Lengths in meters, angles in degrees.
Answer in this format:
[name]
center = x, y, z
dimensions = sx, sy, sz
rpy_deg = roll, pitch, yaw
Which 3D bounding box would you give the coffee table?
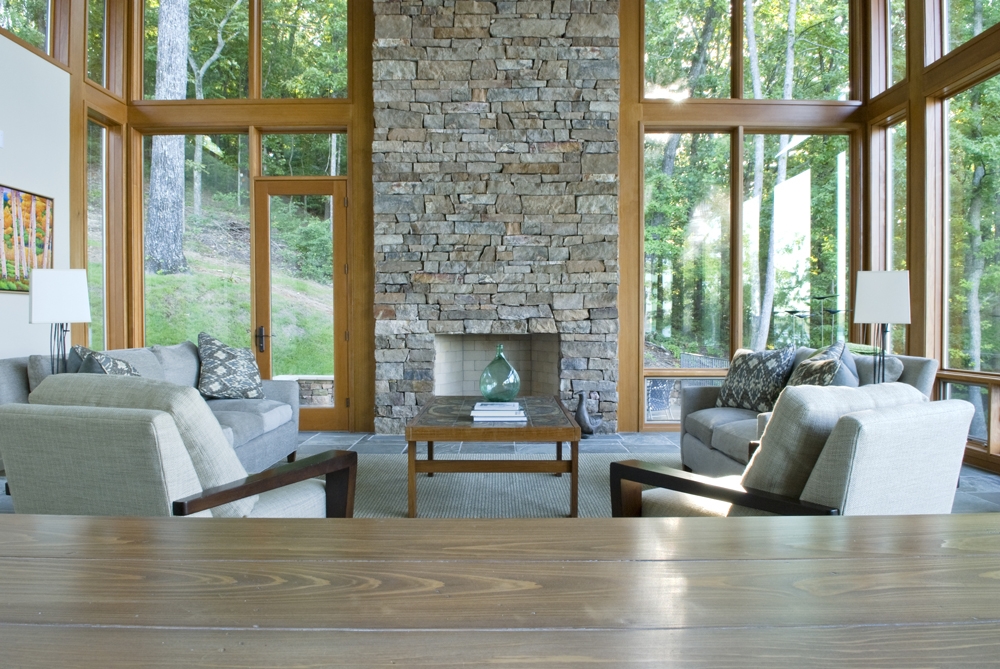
[coffee table]
center = -0.032, 0.811, 5.892
dimensions = 1.166, 0.684, 1.208
rpy_deg = 0, 1, 0

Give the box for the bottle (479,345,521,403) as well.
[bottle]
center = 0.008, 0.307, 6.182
dimensions = 0.379, 0.473, 0.365
rpy_deg = 0, -1, 0

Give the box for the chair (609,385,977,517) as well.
[chair]
center = 1.470, 0.527, 4.312
dimensions = 0.973, 0.923, 1.041
rpy_deg = 1, 0, -19
